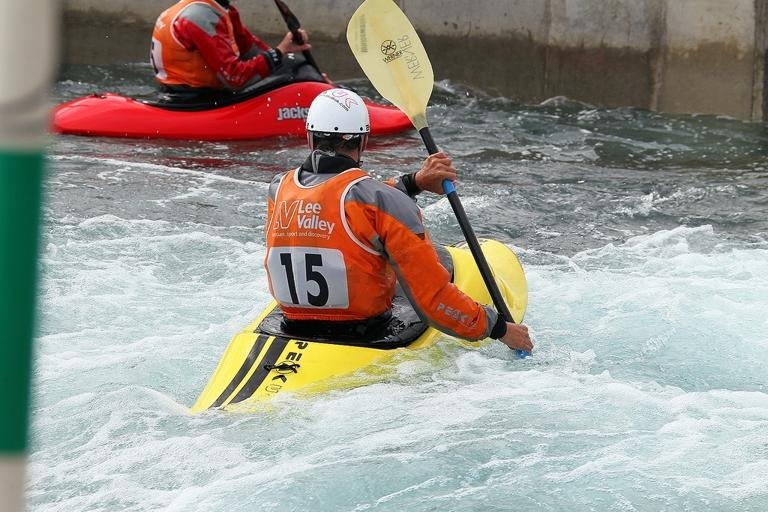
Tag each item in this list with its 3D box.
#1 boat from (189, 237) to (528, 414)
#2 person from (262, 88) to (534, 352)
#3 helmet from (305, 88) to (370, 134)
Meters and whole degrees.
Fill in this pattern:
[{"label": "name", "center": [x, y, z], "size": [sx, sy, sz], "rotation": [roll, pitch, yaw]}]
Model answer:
[{"label": "boat", "center": [0.150, 0.313, 4.437], "size": [2.272, 0.356, 0.713], "rotation": [-17, 29, -38]}, {"label": "person", "center": [0.000, -0.191, 4.043], "size": [1.137, 1.247, 0.360], "rotation": [-1, 6, -5]}, {"label": "helmet", "center": [-0.185, -0.694, 4.054], "size": [0.371, 0.186, 0.297], "rotation": [1, 0, 4]}]
